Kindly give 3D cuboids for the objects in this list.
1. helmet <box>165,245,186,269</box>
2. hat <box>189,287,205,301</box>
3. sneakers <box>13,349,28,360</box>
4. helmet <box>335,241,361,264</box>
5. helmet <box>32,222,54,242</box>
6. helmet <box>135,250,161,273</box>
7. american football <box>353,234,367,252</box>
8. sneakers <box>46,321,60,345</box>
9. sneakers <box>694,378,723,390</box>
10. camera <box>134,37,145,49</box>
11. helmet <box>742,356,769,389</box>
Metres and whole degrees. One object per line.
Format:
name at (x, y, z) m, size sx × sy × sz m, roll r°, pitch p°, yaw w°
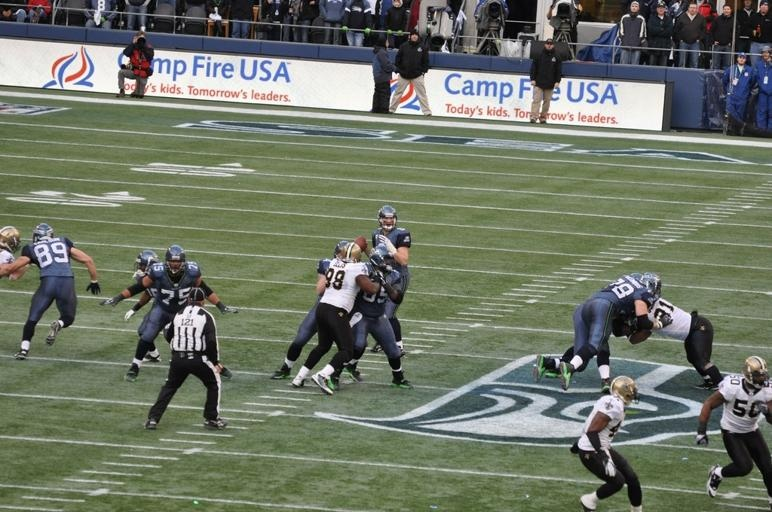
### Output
helmet at (-3.483, 0.029, 25.870) m, size 0.368 × 0.312 × 0.412 m, roll 2°, pitch 29°, yaw -12°
hat at (-2.959, 0.593, 24.560) m, size 0.193 × 0.120 × 0.223 m, roll 12°, pitch 28°, yaw 8°
sneakers at (-6.196, 1.636, 26.752) m, size 0.225 × 0.198 × 0.273 m, roll 1°, pitch 6°, yaw -13°
helmet at (-0.644, -0.072, 25.890) m, size 0.403 × 0.309 × 0.382 m, roll 2°, pitch 6°, yaw -3°
helmet at (-6.125, -0.411, 28.069) m, size 0.354 × 0.323 × 0.426 m, roll -9°, pitch 19°, yaw -29°
helmet at (-4.075, 0.088, 26.555) m, size 0.537 × 0.365 × 0.372 m, roll 0°, pitch 5°, yaw 1°
american football at (-0.442, -0.197, 26.483) m, size 0.216 × 0.092 × 0.267 m, roll 13°, pitch 21°, yaw -24°
sneakers at (-5.746, 1.322, 27.176) m, size 0.176 × 0.406 × 0.207 m, roll 29°, pitch 6°, yaw 24°
sneakers at (5.420, 2.125, 26.614) m, size 0.424 × 0.125 × 0.288 m, roll -26°, pitch -39°, yaw 36°
camera at (-6.923, -5.935, 44.296) m, size 0.272 × 0.284 × 0.161 m, roll 3°, pitch 17°, yaw -5°
helmet at (5.510, 1.704, 23.781) m, size 0.525 × 0.370 × 0.384 m, roll 12°, pitch 10°, yaw 39°
